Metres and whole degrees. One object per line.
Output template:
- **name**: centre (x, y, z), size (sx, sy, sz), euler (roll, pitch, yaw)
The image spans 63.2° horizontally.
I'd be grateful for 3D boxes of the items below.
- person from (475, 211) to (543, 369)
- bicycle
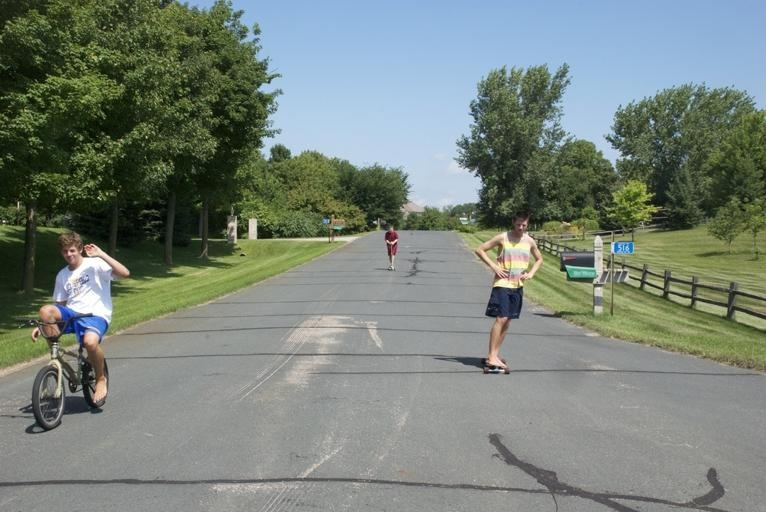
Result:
- **person**: centre (2.270, 0.680, 11.485), size (1.067, 2.933, 0.693), euler (-5, 13, -25)
- **bicycle**: centre (-4.934, 1.867, 9.524), size (0.452, 1.310, 1.035), euler (7, 14, 29)
